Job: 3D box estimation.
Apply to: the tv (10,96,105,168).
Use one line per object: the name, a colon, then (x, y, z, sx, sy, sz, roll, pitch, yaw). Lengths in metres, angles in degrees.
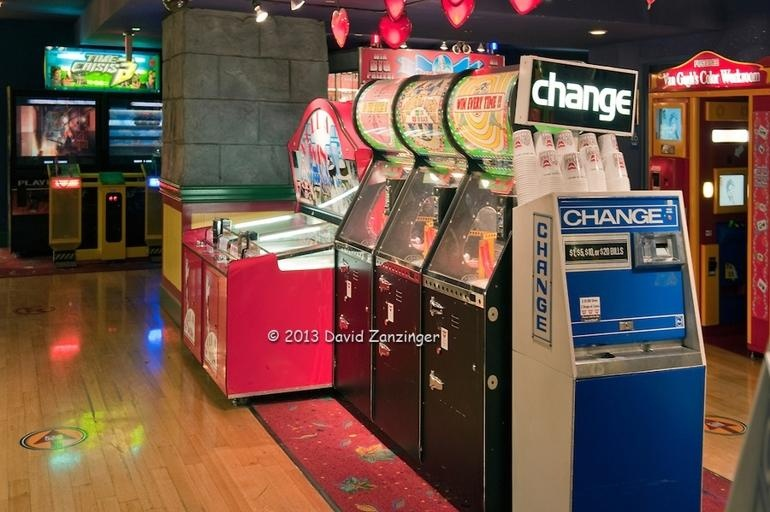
tv: (-5.622, -2.124, 9.881, 1.383, 1.153, 0.471, -1, 2, -18)

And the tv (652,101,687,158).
tv: (3.209, -1.437, 6.592, 0.121, 0.601, 0.484, -3, 13, -15)
